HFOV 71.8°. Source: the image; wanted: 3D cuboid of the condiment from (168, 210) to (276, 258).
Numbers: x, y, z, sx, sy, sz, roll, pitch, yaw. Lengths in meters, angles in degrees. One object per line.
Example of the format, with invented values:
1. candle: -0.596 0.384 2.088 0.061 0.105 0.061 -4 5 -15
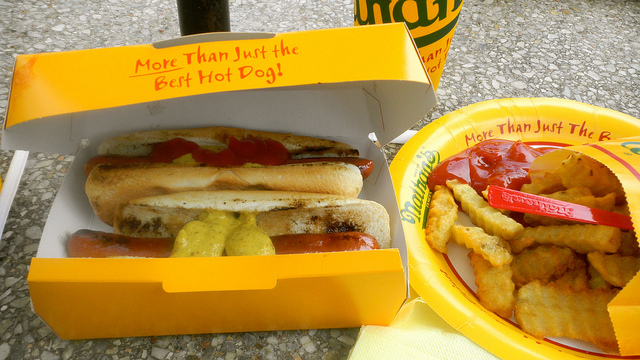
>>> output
1. condiment: -0.331 0.183 1.529 0.361 0.172 0.188 2 70 0

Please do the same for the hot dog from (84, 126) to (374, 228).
1. hot dog: -0.328 0.015 1.808 1.067 0.260 0.432 0 33 -3
